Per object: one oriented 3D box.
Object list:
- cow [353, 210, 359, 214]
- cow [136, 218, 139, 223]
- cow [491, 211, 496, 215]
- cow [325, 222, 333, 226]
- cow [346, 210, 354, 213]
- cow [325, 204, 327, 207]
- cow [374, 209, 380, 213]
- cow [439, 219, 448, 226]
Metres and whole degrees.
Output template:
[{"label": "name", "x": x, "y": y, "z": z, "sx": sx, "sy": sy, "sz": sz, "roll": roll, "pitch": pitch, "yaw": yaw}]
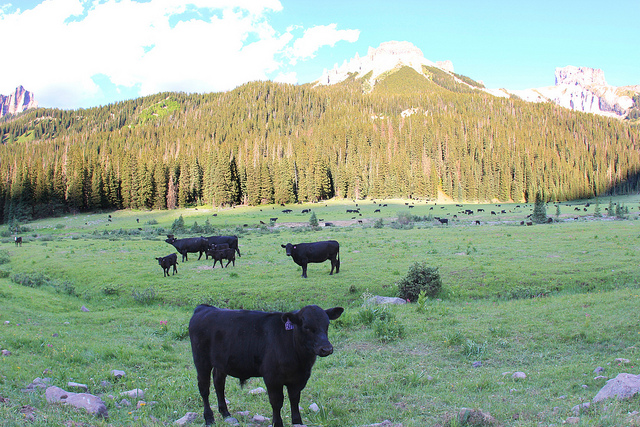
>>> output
[{"label": "cow", "x": 8.924, "y": -0.568, "z": 148.469, "sx": 1.420, "sy": 0.727, "sz": 1.390, "roll": -3, "pitch": -3, "yaw": 7}, {"label": "cow", "x": -45.929, "y": 1.830, "z": 150.674, "sx": 0.816, "sy": 1.367, "sz": 0.826, "roll": -1, "pitch": 6, "yaw": -16}, {"label": "cow", "x": 41.130, "y": -0.091, "z": 141.742, "sx": 1.011, "sy": 0.688, "sz": 1.812, "roll": -4, "pitch": -3, "yaw": 16}, {"label": "cow", "x": 1.734, "y": 2.240, "z": 127.111, "sx": 1.322, "sy": 0.740, "sz": 2.411, "roll": -3, "pitch": -3, "yaw": 1}, {"label": "cow", "x": 7.583, "y": -0.582, "z": 148.819, "sx": 1.285, "sy": 0.720, "sz": 2.038, "roll": -5, "pitch": -3, "yaw": 35}, {"label": "cow", "x": 1.699, "y": -2.258, "z": 167.686, "sx": 0.532, "sy": 1.080, "sz": 0.566, "roll": 0, "pitch": -1, "yaw": 1}, {"label": "cow", "x": 14.055, "y": -0.600, "z": 147.447, "sx": 1.215, "sy": 0.692, "sz": 2.064, "roll": -3, "pitch": -3, "yaw": 7}, {"label": "cow", "x": 25.792, "y": 1.657, "z": 124.035, "sx": 1.412, "sy": 1.017, "sz": 1.699, "roll": -3, "pitch": -3, "yaw": 8}]
